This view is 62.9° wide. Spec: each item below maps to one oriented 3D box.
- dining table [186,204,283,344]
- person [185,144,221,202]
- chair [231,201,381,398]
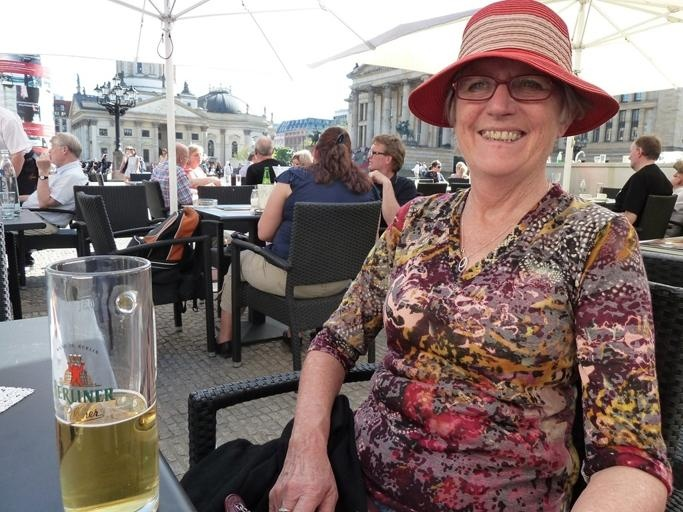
[{"bbox_3d":[-0.872,0.119,4.887,0.965,0.916,0.711,-4,11,-29],"label":"dining table"},{"bbox_3d":[-2.680,-1.513,10.466,0.557,1.023,0.500,3,16,-10],"label":"person"},{"bbox_3d":[-0.360,0.137,4.049,1.037,1.596,1.142,-6,14,-40],"label":"chair"}]
